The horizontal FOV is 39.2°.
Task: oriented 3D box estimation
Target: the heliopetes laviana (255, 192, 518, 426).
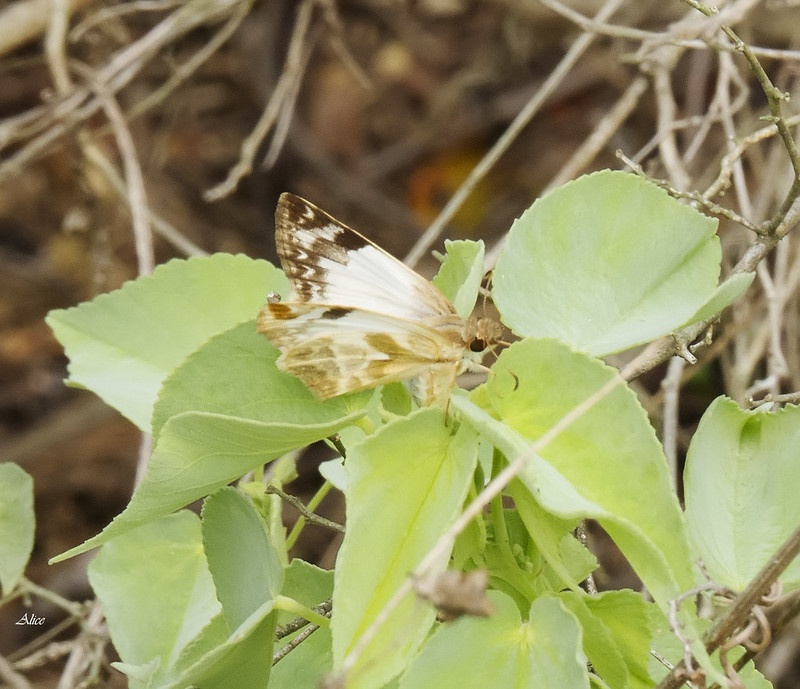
[{"bbox_3d":[-0.029,-0.029,0.963,0.258,0.139,0.180,1,12,-2],"label":"heliopetes laviana"}]
